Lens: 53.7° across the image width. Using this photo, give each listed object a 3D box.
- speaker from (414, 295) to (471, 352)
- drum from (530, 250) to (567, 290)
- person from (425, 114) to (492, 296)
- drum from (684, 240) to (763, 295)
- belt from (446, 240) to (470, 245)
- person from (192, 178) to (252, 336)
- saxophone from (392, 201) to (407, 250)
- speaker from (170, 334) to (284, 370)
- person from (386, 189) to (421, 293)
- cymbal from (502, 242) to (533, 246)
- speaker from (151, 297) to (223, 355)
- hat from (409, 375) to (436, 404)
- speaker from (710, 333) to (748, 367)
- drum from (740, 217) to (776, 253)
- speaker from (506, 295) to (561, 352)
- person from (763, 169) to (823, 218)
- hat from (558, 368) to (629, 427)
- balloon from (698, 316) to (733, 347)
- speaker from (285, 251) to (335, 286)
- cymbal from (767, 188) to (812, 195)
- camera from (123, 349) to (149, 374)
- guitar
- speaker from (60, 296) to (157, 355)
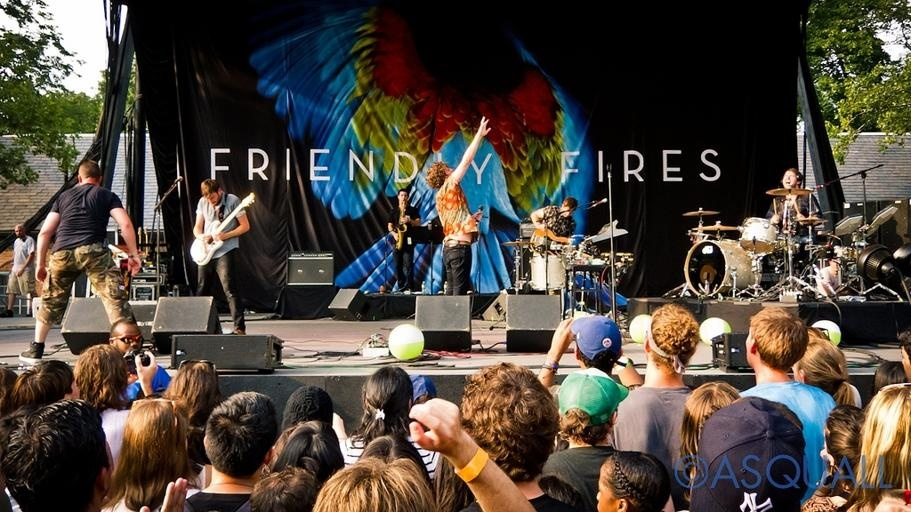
[{"bbox_3d":[-0.138,1.047,14.711,1.210,1.002,0.832,0,3,6],"label":"speaker"},{"bbox_3d":[5.605,-0.465,16.598,0.718,0.427,0.703,6,-4,0],"label":"drum"},{"bbox_3d":[-0.006,-0.720,15.156,1.067,3.110,1.315,0,0,-14],"label":"person"},{"bbox_3d":[4.982,0.225,17.095,0.742,1.081,1.613,3,-4,-13],"label":"drum"},{"bbox_3d":[0.026,-0.230,15.036,0.406,0.103,0.115,1,-4,2],"label":"belt"},{"bbox_3d":[-4.014,-0.019,15.603,1.098,2.918,1.181,1,-1,-5],"label":"person"},{"bbox_3d":[-1.240,-0.613,20.095,0.293,0.935,0.242,2,-4,3],"label":"saxophone"},{"bbox_3d":[-3.446,1.406,13.450,1.545,0.491,0.263,1,-4,4],"label":"speaker"},{"bbox_3d":[-1.106,-0.311,20.286,0.887,2.090,0.817,1,0,-6],"label":"person"},{"bbox_3d":[1.277,-0.276,18.766,0.432,0.112,0.831,2,-4,-5],"label":"cymbal"},{"bbox_3d":[-4.257,1.041,14.328,0.928,0.694,0.842,1,12,0],"label":"speaker"},{"bbox_3d":[-0.430,1.728,11.771,0.353,0.348,0.290,2,-4,-12],"label":"hat"},{"bbox_3d":[4.066,1.403,13.463,0.512,0.448,0.668,1,-6,-6],"label":"speaker"},{"bbox_3d":[5.574,-0.350,16.564,0.672,0.445,0.628,14,-26,7],"label":"drum"},{"bbox_3d":[1.200,1.039,14.083,1.396,0.785,0.443,0,-1,1],"label":"speaker"},{"bbox_3d":[6.444,-1.048,17.048,0.746,1.148,1.560,3,2,20],"label":"person"},{"bbox_3d":[1.647,1.704,11.106,0.575,0.312,0.774,8,24,23],"label":"hat"},{"bbox_3d":[4.052,1.187,14.047,0.330,0.297,0.322,-31,-51,17],"label":"balloon"},{"bbox_3d":[-3.187,0.450,19.719,1.258,0.734,0.673,0,-6,-6],"label":"speaker"},{"bbox_3d":[6.166,-1.191,16.705,0.377,0.076,0.356,1,-4,-32],"label":"cymbal"},{"bbox_3d":[-4.416,1.416,12.438,0.403,0.248,0.393,-7,-10,-18],"label":"camera"},{"bbox_3d":[-4.040,-0.440,15.425,0.907,1.208,0.499,3,-4,-13],"label":"guitar"},{"bbox_3d":[-5.686,1.050,14.605,1.381,0.765,1.030,1,-1,-4],"label":"speaker"}]
